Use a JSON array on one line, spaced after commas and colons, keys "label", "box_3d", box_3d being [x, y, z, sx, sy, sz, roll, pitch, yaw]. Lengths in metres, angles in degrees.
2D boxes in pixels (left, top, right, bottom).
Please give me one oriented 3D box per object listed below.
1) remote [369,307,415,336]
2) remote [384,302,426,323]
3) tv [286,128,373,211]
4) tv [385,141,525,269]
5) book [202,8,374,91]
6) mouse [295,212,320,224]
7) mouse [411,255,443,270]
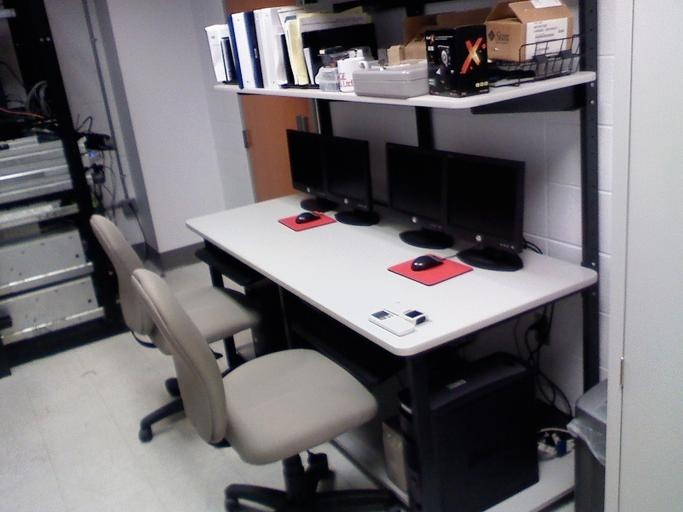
[{"label": "remote", "box_3d": [0.176, 0.229, 1.894, 0.087, 0.017, 0.178, -23, 29, -32]}, {"label": "remote", "box_3d": [0.229, 0.194, 1.939, 0.058, 0.025, 0.120, -12, 24, -29]}, {"label": "tv", "box_3d": [-0.056, -0.482, 2.980, 0.130, 0.308, 0.445, -26, 35, -35]}, {"label": "tv", "box_3d": [0.502, -0.219, 2.318, 0.139, 0.305, 0.507, -21, 28, -31]}, {"label": "book", "box_3d": [-0.318, -1.075, 2.781, 0.966, 0.367, 0.383, 8, 28, 30]}, {"label": "mouse", "box_3d": [-0.184, -0.214, 2.928, 0.102, 0.035, 0.073, -10, 19, -30]}, {"label": "mouse", "box_3d": [0.351, 0.007, 2.263, 0.112, 0.027, 0.061, -18, 26, -35]}]
